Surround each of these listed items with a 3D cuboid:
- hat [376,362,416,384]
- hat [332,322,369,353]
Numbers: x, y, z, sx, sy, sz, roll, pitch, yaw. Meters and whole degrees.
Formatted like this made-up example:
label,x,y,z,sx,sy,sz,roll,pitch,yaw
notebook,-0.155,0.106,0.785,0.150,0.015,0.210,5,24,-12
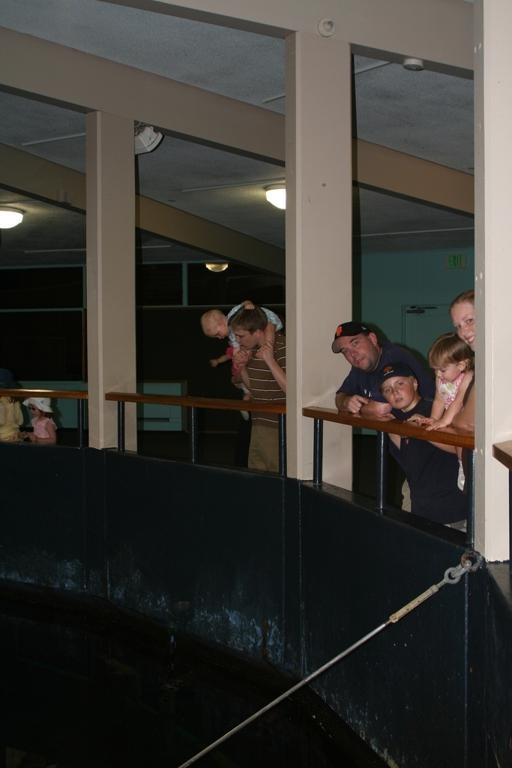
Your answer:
label,x,y,z,sx,sy,sz,roll,pitch,yaw
hat,0.500,-0.044,2.307,0.098,0.074,0.147,-12,-10,-14
hat,0.386,-0.192,2.599,0.142,0.076,0.103,-11,-8,-46
